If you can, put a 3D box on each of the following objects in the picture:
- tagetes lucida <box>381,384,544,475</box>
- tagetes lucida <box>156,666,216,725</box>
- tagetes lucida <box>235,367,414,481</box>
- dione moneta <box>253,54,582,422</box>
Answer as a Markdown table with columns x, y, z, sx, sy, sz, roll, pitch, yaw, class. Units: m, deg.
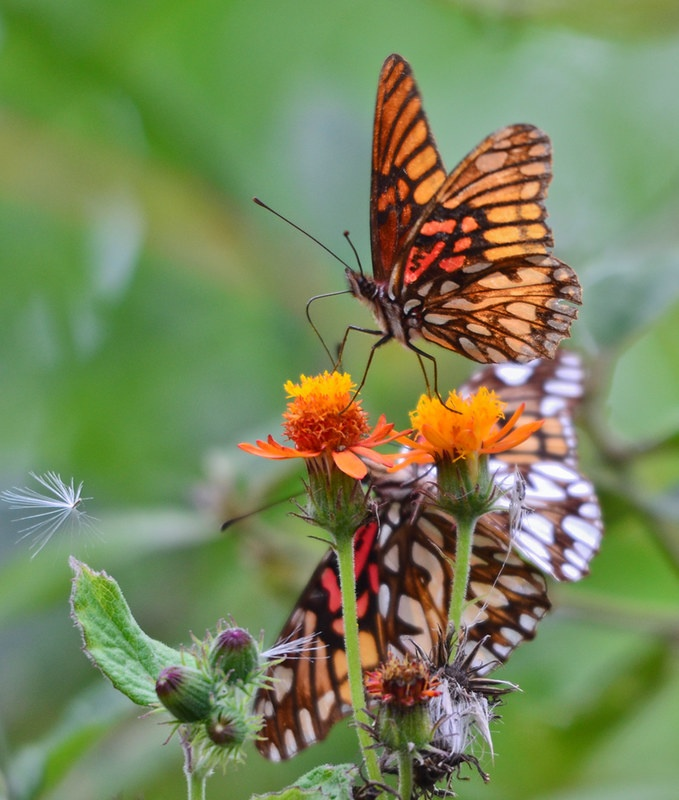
| x | y | z | sx | sy | sz | roll | pitch | yaw | class |
| --- | --- | --- | --- | --- | --- | --- | --- | --- | --- |
| 0.188 | 0.040 | 1.264 | 0.196 | 0.079 | 0.173 | -1 | 28 | -10 | tagetes lucida |
| -0.179 | 0.345 | 1.072 | 0.064 | 0.071 | 0.027 | -13 | 1 | -26 | tagetes lucida |
| -0.024 | 0.028 | 1.314 | 0.227 | 0.122 | 0.250 | -12 | -12 | 18 | tagetes lucida |
| 0.186 | -0.248 | 1.647 | 0.617 | 0.586 | 0.509 | -6 | -14 | -18 | dione moneta |
